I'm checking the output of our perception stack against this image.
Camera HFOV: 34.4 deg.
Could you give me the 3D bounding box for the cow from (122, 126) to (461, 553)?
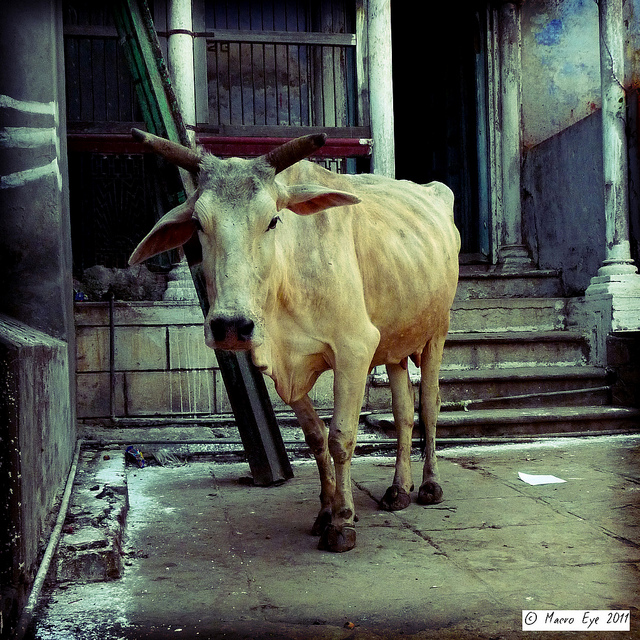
[{"bbox_3d":[0.188,0.103,6.128,1.025,2.326,2.904,0,3,32],"label":"cow"}]
